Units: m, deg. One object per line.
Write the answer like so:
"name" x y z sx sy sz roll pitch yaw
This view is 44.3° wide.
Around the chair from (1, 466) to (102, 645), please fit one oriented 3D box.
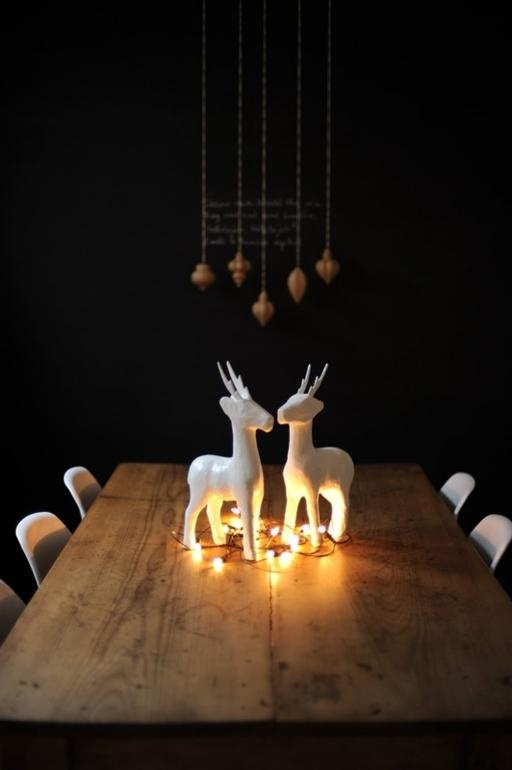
"chair" -0.642 0.491 1.918 0.137 0.239 0.595 11 48 2
